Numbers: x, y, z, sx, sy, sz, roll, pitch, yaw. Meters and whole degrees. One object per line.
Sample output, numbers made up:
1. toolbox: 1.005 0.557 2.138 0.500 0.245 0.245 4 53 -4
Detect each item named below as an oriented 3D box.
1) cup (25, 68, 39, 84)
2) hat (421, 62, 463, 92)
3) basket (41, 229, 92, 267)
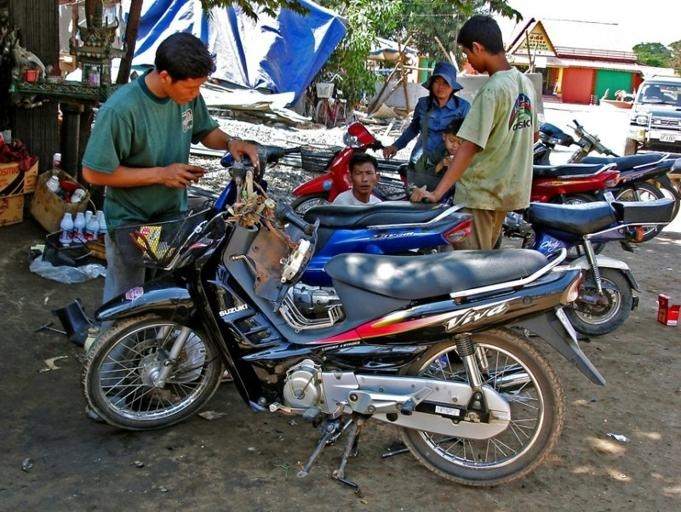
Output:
1. cup: -3.239 -1.889 5.925 0.152 0.145 0.375 -1 20 -26
2. hat: 1.174 -1.912 6.030 0.452 0.211 0.377 16 -2 -9
3. basket: -2.722 -0.057 5.586 0.483 0.141 0.323 26 29 22
